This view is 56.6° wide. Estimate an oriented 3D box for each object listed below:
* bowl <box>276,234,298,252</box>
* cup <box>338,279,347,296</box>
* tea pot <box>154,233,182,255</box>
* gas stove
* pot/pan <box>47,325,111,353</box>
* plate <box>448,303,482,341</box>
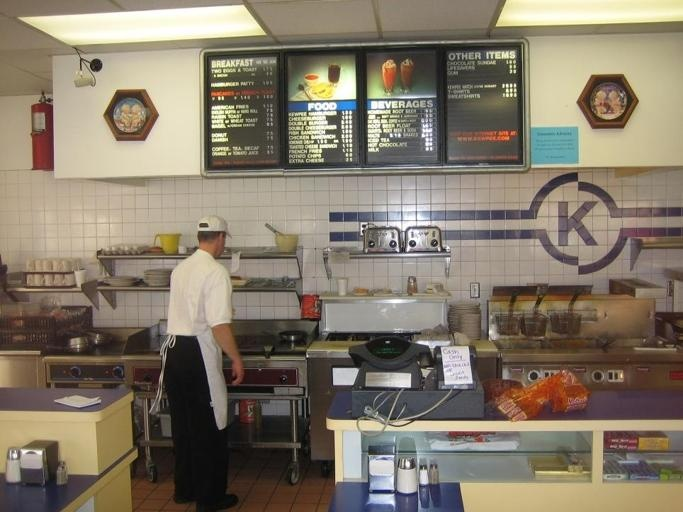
[{"bbox_3d":[-0.483,-0.122,5.589,0.184,0.162,0.179,-2,4,0],"label":"bowl"},{"bbox_3d":[0.005,0.260,5.557,0.080,0.145,0.086,-2,5,0],"label":"cup"},{"bbox_3d":[-1.544,-0.117,5.723,0.189,0.176,0.243,0,-2,43],"label":"tea pot"},{"bbox_3d":[-1.051,0.876,5.400,1.455,0.520,0.867,2,2,-3],"label":"gas stove"},{"bbox_3d":[-2.333,0.712,5.642,0.378,0.177,0.376,1,4,13],"label":"pot/pan"},{"bbox_3d":[1.085,0.550,5.511,0.298,0.306,0.278,-1,5,4],"label":"plate"}]
